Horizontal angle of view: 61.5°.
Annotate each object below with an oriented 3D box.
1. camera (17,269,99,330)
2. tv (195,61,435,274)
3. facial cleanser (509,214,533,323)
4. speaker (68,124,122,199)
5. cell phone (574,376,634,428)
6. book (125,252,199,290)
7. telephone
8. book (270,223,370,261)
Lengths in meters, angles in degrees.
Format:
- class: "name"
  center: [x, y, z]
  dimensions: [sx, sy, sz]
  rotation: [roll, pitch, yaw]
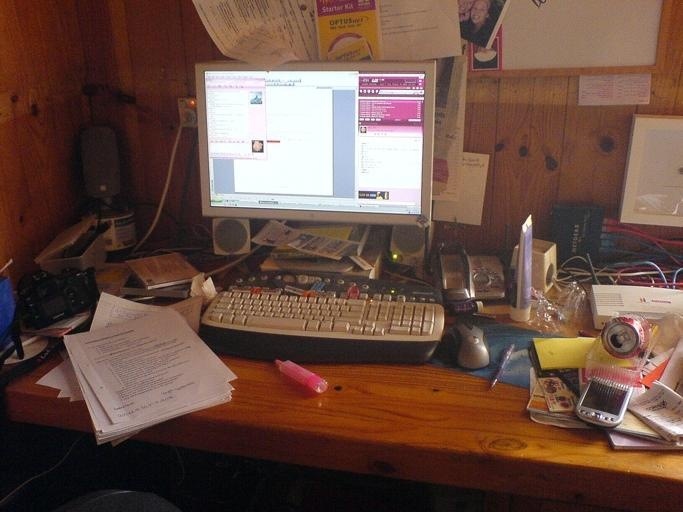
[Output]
- class: "camera"
  center: [-0.639, 0.103, 1.298]
  dimensions: [0.109, 0.076, 0.111]
  rotation: [20, 25, 22]
- class: "tv"
  center: [-0.070, -0.285, 1.435]
  dimensions: [0.599, 0.395, 0.045]
  rotation: [4, 17, 8]
- class: "facial cleanser"
  center: [0.400, 0.027, 1.377]
  dimensions: [0.078, 0.198, 0.113]
  rotation: [4, 23, 22]
- class: "speaker"
  center: [-0.673, -0.263, 1.592]
  dimensions: [0.125, 0.196, 0.139]
  rotation: [-7, 23, -36]
- class: "cell phone"
  center: [0.487, 0.268, 1.068]
  dimensions: [0.099, 0.073, 0.090]
  rotation: [12, 29, 27]
- class: "book"
  center: [-0.469, 0.042, 1.497]
  dimensions: [0.156, 0.027, 0.211]
  rotation: [-10, 19, -29]
- class: "telephone"
  center: [0.315, 0.006, 1.435]
  dimensions: [0.155, 0.154, 0.163]
  rotation: [5, 24, 9]
- class: "book"
  center: [-0.035, -0.041, 1.522]
  dimensions: [0.131, 0.031, 0.135]
  rotation: [8, 31, 16]
